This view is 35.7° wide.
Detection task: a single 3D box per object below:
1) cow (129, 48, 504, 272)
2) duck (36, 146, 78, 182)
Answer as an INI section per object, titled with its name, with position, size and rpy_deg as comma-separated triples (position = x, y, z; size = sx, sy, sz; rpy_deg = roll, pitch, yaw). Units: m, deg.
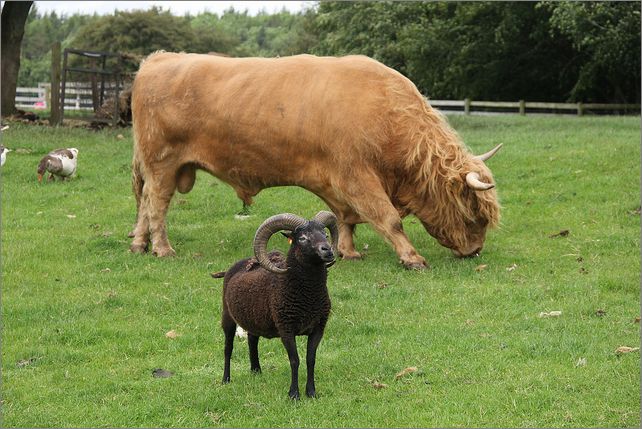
[cow]
position = 0.217, -2.324, 31.867
size = 12.891, 7.200, 4.895
rpy_deg = 0, 9, 9
[duck]
position = -9.001, -1.665, 34.049
size = 1.360, 1.066, 0.714
rpy_deg = -2, 10, -30
